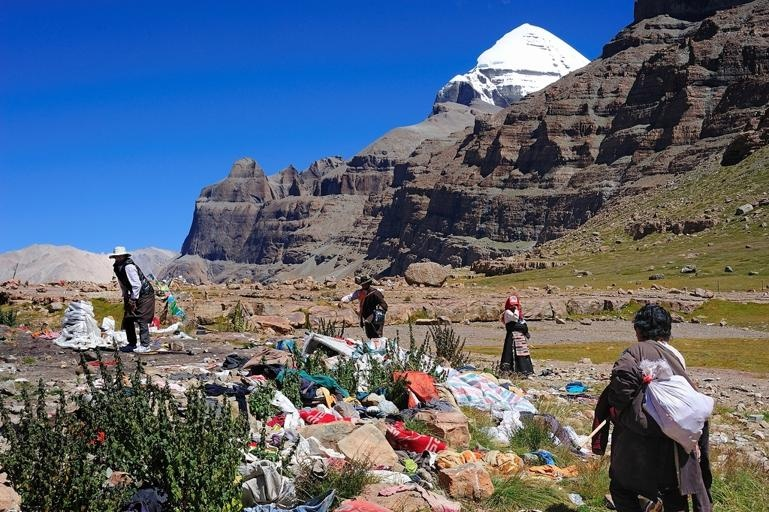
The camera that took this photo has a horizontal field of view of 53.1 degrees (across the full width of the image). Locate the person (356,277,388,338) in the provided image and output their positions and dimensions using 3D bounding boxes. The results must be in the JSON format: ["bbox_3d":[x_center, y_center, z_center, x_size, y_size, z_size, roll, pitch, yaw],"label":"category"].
[{"bbox_3d":[-0.297,1.175,17.474,0.583,1.386,0.819,0,-4,-2],"label":"person"}]

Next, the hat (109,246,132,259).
[{"bbox_3d":[-4.851,-0.037,14.156,0.266,0.122,0.252,-5,-11,1],"label":"hat"}]
